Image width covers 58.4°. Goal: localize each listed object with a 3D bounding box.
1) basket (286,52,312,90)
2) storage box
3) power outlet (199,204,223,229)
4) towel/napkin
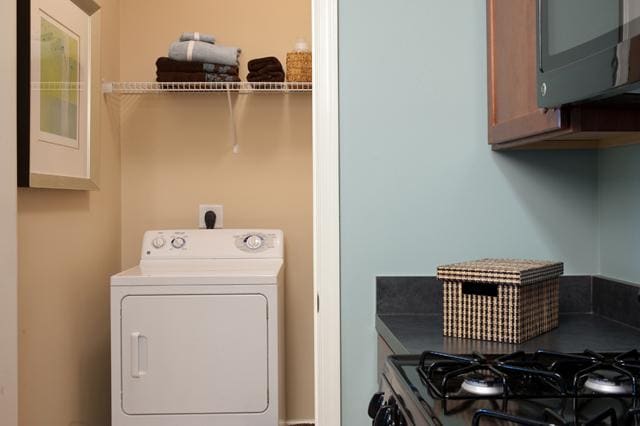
[{"bbox_3d":[-0.117,-0.837,3.397,0.178,0.254,0.180,0,5,-1],"label":"basket"},{"bbox_3d":[0.649,0.303,2.144,0.282,0.229,0.374,-1,-1,41],"label":"storage box"},{"bbox_3d":[-0.667,0.022,3.498,0.146,0.142,0.035,2,2,-2],"label":"power outlet"},{"bbox_3d":[-0.606,-0.793,3.278,0.519,0.236,0.403,1,5,-7],"label":"towel/napkin"}]
